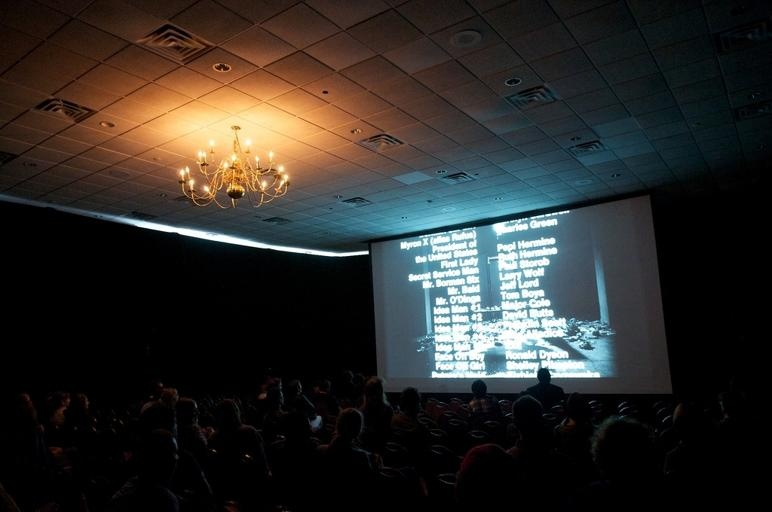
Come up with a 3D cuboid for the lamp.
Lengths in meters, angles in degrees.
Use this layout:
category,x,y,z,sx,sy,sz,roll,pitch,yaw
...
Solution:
category,x,y,z,sx,sy,sz,roll,pitch,yaw
lamp,-2.823,-1.735,10.206,2.002,1.300,1.959,-7,-6,37
